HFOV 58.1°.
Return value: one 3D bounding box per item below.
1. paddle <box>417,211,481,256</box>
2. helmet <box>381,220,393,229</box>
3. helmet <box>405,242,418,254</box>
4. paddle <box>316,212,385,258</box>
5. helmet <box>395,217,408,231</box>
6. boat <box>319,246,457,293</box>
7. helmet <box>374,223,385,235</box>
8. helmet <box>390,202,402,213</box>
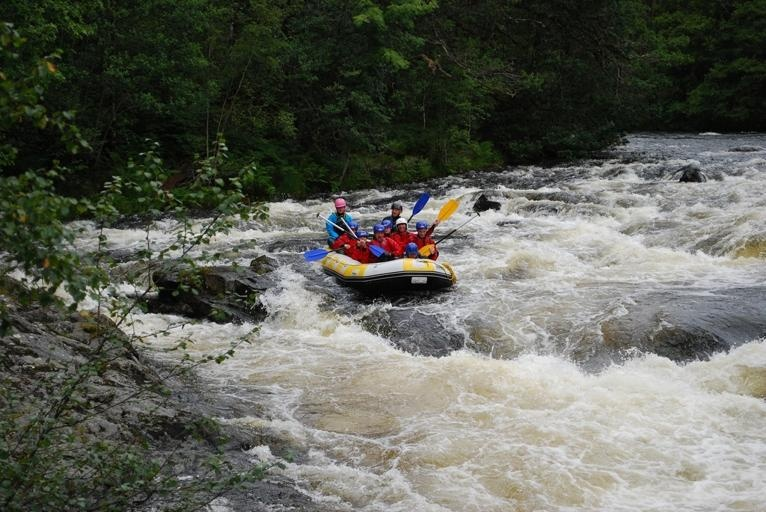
[{"bbox_3d":[1.754,-0.547,18.116,1.910,0.056,0.307,-28,72,-42],"label":"paddle"},{"bbox_3d":[0.082,-0.730,15.982,0.187,0.200,0.229,-4,-2,-3],"label":"helmet"},{"bbox_3d":[0.607,-0.149,14.861,0.219,0.230,0.254,-1,4,-1],"label":"helmet"},{"bbox_3d":[-0.714,-0.405,15.956,0.931,0.500,1.446,-18,28,-29],"label":"paddle"},{"bbox_3d":[0.431,-0.695,15.747,0.254,0.306,0.278,-2,56,5],"label":"helmet"},{"bbox_3d":[0.005,0.386,14.770,2.794,0.918,0.835,14,26,21],"label":"boat"},{"bbox_3d":[-0.090,-0.597,15.486,0.192,0.176,0.243,0,-4,-6],"label":"helmet"},{"bbox_3d":[0.320,-1.141,16.375,0.261,0.280,0.313,5,15,2],"label":"helmet"}]
